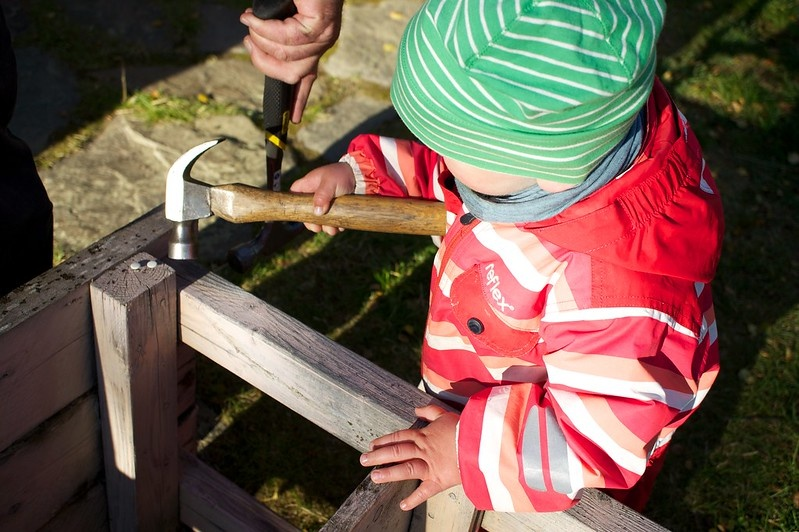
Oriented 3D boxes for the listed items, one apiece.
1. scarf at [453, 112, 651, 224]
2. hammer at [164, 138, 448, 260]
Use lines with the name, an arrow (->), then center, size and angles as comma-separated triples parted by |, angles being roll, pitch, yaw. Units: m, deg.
scarf -> 0.425, -0.340, 2.057 | 0.406, 0.317, 0.104 | -29, 93, -24
hammer -> -0.345, -0.224, 2.655 | 1.241, 0.525, 0.226 | 2, 45, -23
